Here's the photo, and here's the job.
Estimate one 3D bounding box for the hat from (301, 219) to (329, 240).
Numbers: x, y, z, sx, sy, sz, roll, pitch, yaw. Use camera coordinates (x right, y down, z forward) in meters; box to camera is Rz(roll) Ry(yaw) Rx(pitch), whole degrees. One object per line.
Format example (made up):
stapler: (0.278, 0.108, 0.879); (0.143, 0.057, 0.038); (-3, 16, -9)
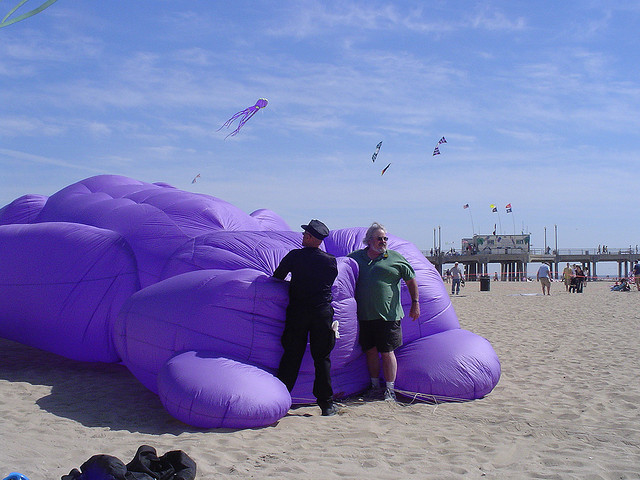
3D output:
hat: (-0.025, -0.102, 6.551); (0.276, 0.093, 0.211); (31, 20, 33)

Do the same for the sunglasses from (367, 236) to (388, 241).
sunglasses: (0.642, -0.012, 7.067); (0.221, 0.050, 0.115); (1, 0, -2)

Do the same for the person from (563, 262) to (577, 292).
person: (9.724, 1.472, 24.579); (0.348, 1.154, 1.243); (2, 0, 22)

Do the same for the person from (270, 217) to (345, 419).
person: (-0.126, 0.807, 6.573); (0.830, 2.056, 0.519); (2, 0, -10)

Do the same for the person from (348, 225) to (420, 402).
person: (0.679, 0.778, 7.043); (0.807, 1.928, 0.358); (2, 0, 11)
